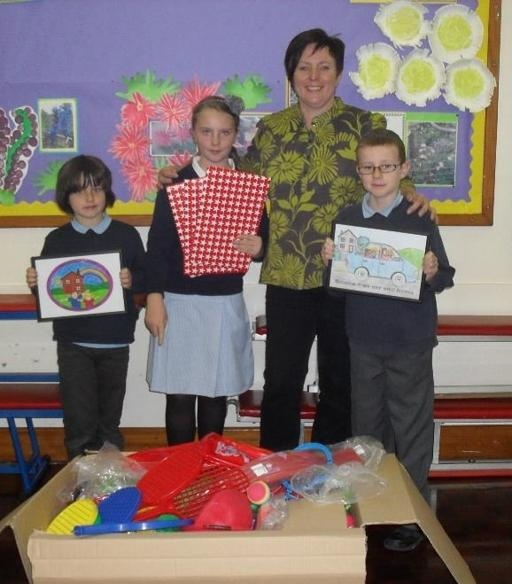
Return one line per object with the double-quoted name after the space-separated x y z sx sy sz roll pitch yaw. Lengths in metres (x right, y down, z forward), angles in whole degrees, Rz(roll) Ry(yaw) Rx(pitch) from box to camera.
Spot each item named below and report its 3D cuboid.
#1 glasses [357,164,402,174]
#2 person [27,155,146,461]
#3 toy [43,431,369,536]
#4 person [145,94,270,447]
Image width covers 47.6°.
0.348 -0.347 1.641 0.115 0.027 0.038 1 9 10 "glasses"
-0.537 0.048 1.970 0.337 1.011 0.242 -4 10 -19 "person"
-0.102 0.362 1.151 0.426 0.090 0.221 -9 10 -14 "toy"
-0.161 -0.065 1.852 0.403 1.100 0.222 -3 10 -11 "person"
